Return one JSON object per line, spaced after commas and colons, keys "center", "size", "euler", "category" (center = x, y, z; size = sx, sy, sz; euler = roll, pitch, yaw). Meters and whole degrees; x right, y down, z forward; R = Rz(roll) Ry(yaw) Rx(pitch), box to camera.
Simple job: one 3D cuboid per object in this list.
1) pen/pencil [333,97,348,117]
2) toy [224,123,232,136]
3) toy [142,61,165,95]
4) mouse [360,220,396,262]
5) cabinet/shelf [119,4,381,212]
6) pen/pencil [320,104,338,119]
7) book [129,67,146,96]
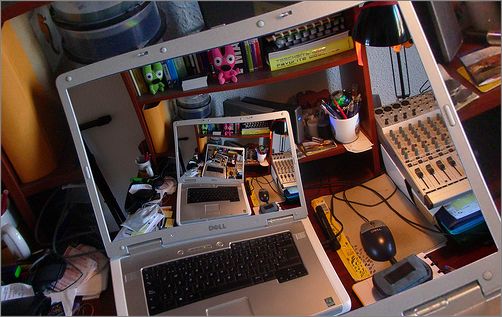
{"center": [0.388, -0.222, 1.538], "size": [0.015, 0.014, 0.103], "euler": [-19, 66, -33], "category": "pen/pencil"}
{"center": [-0.098, -0.124, 1.471], "size": [0.046, 0.043, 0.014], "euler": [0, 18, 4], "category": "toy"}
{"center": [-0.420, -0.350, 1.500], "size": [0.080, 0.133, 0.065], "euler": [-21, 43, -25], "category": "toy"}
{"center": [0.507, 0.314, 1.398], "size": [0.113, 0.061, 0.187], "euler": [-25, 41, 14], "category": "mouse"}
{"center": [0.002, -0.207, 1.484], "size": [0.886, 0.723, 0.278], "euler": [-11, 39, 13], "category": "cabinet/shelf"}
{"center": [0.345, -0.211, 1.560], "size": [0.096, 0.021, 0.022], "euler": [40, 58, 4], "category": "pen/pencil"}
{"center": [-0.492, -0.337, 1.525], "size": [0.021, 0.086, 0.087], "euler": [-14, 30, -10], "category": "book"}
